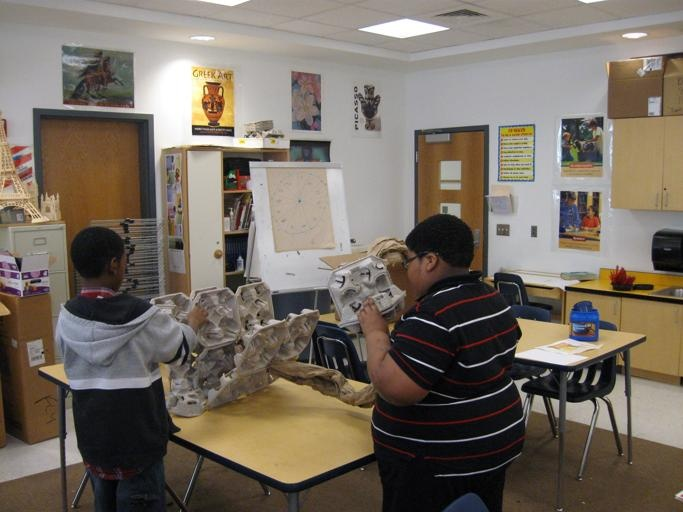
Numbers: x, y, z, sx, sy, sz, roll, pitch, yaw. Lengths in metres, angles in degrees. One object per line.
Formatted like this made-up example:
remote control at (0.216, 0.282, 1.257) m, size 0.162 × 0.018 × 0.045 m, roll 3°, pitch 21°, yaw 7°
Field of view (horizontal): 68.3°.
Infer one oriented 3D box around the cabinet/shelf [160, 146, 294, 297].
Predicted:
cabinet/shelf at (-1.184, -0.324, 4.992) m, size 0.441 × 1.745 × 1.475 m, roll 4°, pitch 6°, yaw 44°

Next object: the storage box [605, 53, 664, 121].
storage box at (3.092, -1.727, 5.460) m, size 0.602 × 0.618 × 0.446 m, roll -1°, pitch 0°, yaw 9°

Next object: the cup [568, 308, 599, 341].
cup at (1.739, 0.490, 3.619) m, size 0.199 × 0.220 × 0.205 m, roll 0°, pitch -3°, yaw 0°

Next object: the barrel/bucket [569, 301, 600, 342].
barrel/bucket at (1.742, 0.465, 3.675) m, size 0.237 × 0.337 × 0.255 m, roll 0°, pitch -1°, yaw 0°

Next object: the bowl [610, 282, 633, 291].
bowl at (2.968, 0.319, 5.289) m, size 0.244 × 0.060 × 0.124 m, roll 0°, pitch 10°, yaw 2°

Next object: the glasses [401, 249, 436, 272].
glasses at (0.295, 0.026, 1.996) m, size 0.096 × 0.030 × 0.096 m, roll -22°, pitch -5°, yaw 38°

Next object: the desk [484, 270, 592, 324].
desk at (2.118, 0.387, 5.646) m, size 0.912 × 0.609 × 0.620 m, roll 2°, pitch 1°, yaw 44°
